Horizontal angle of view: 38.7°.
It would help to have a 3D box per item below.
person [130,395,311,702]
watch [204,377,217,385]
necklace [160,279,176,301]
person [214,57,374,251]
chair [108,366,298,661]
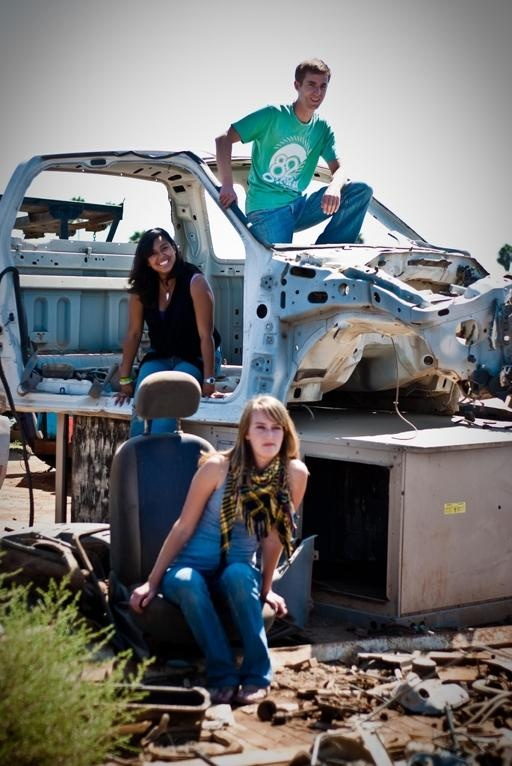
[{"bbox_3d":[-0.147,0.616,2.954,0.561,1.135,0.559,1,-1,26],"label":"person"},{"bbox_3d":[-0.288,-0.017,4.580,0.057,0.035,0.057,4,-2,-39],"label":"watch"},{"bbox_3d":[-0.545,-0.578,4.499,0.093,0.123,0.032,12,5,36],"label":"necklace"},{"bbox_3d":[0.273,-1.458,4.845,0.986,1.203,0.704,1,-1,7],"label":"person"},{"bbox_3d":[-0.307,0.527,3.210,0.720,1.079,0.598,-1,5,-38],"label":"chair"}]
